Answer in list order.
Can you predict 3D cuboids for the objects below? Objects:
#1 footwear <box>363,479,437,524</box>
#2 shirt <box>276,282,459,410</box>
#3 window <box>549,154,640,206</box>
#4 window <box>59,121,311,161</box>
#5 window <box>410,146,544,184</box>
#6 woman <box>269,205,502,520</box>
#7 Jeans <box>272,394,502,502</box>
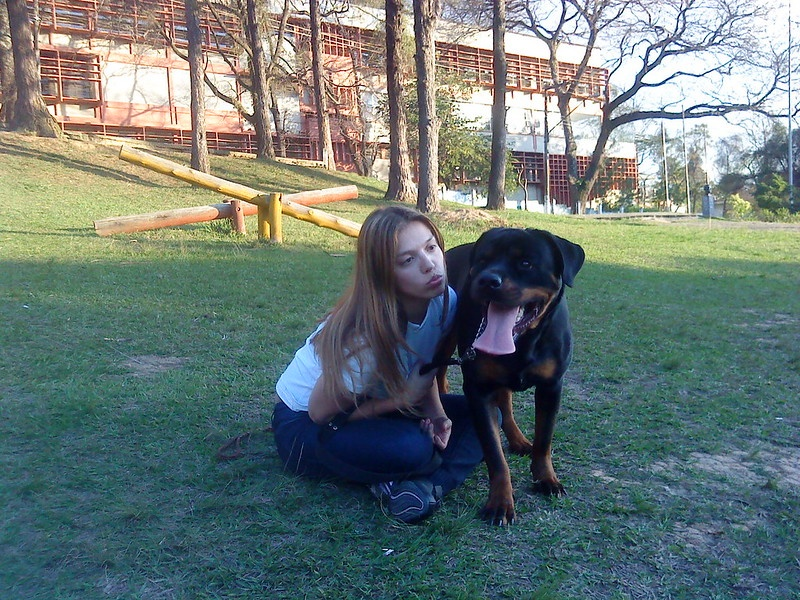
[{"bbox_3d":[0.012,1.046,3.398,0.303,0.171,0.152,17,57,42],"label":"footwear"},{"bbox_3d":[-0.243,0.258,3.527,0.888,0.402,0.619,2,-24,17],"label":"shirt"},{"bbox_3d":[14.322,-8.725,46.030,5.149,6.019,1.388,9,5,13],"label":"window"},{"bbox_3d":[-9.232,-7.316,29.231,11.164,1.351,2.027,-10,19,-37],"label":"window"},{"bbox_3d":[6.340,-8.005,38.307,0.941,2.528,9.675,32,28,35],"label":"window"},{"bbox_3d":[-0.107,0.293,3.453,1.027,1.488,1.200,0,14,-4],"label":"woman"},{"bbox_3d":[-0.146,0.826,3.554,0.699,0.327,0.632,-4,-3,16],"label":"Jeans"}]
